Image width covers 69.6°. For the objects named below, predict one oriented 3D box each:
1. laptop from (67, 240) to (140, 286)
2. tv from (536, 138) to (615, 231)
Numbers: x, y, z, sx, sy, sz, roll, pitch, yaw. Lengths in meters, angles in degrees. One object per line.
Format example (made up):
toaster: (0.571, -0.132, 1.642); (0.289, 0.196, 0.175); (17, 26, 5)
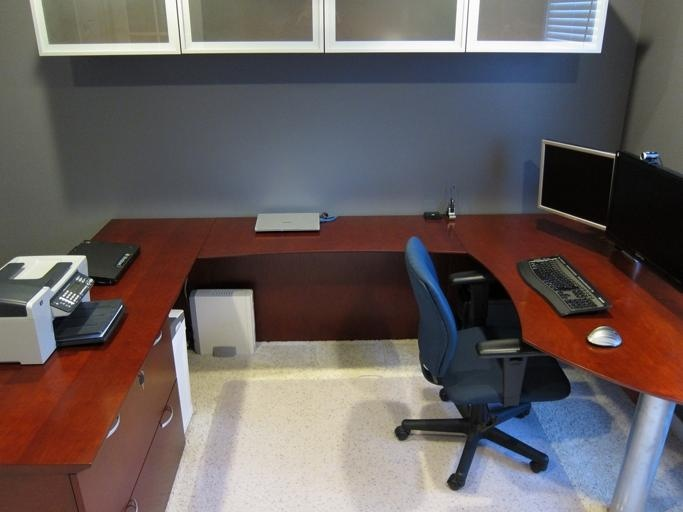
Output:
laptop: (-1.337, 0.009, 2.732); (0.253, 0.071, 0.291); (8, 30, 1)
tv: (1.399, -0.423, 2.938); (0.051, 0.457, 0.504); (-21, 34, -25)
